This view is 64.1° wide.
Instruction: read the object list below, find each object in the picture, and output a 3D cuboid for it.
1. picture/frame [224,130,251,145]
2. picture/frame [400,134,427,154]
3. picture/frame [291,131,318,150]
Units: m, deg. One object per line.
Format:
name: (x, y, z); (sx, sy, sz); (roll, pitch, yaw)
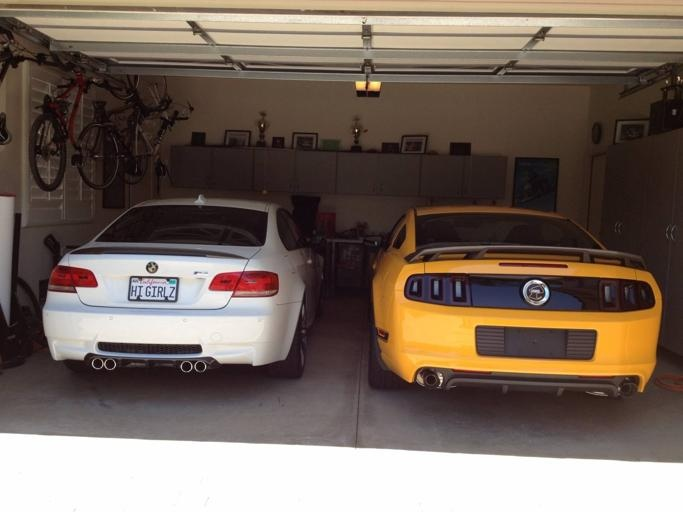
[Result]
picture/frame: (-2.008, -2.307, 10.501); (0.288, 0.261, 0.022); (2, -12, -2)
picture/frame: (1.373, -2.149, 10.384); (0.448, 0.409, 0.168); (1, -1, 4)
picture/frame: (-0.702, -2.240, 10.476); (0.362, 0.408, 0.029); (-14, -2, -6)
